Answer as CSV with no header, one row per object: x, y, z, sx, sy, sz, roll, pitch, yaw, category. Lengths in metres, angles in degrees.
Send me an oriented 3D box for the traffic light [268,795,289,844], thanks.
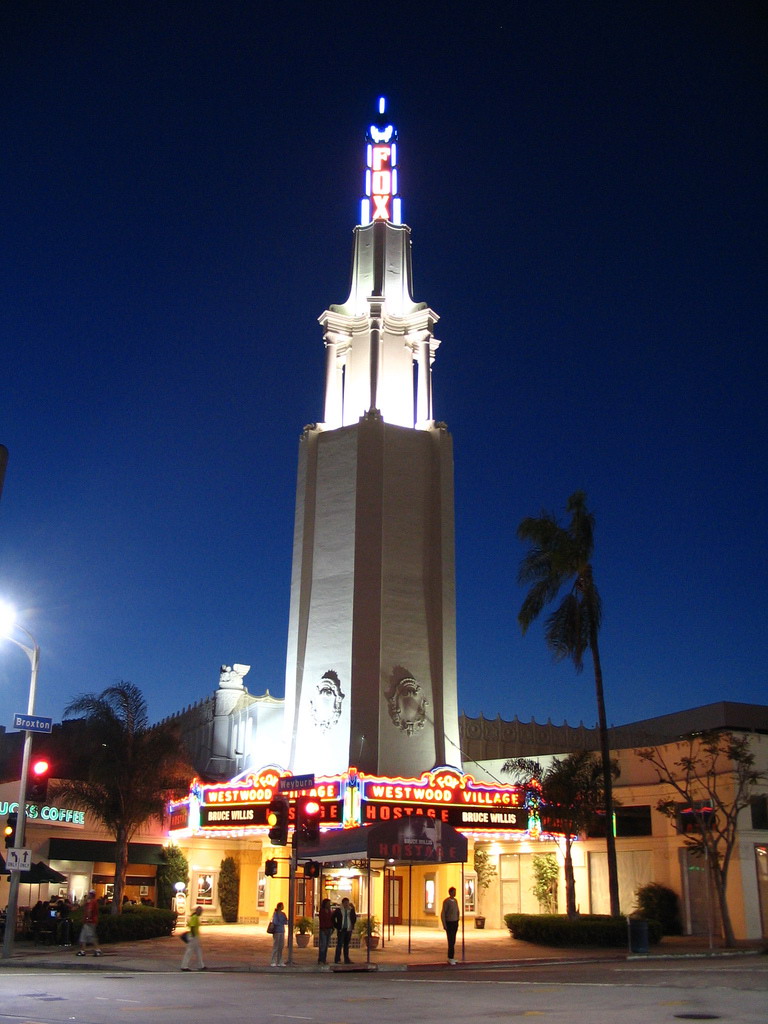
-2.766,8.088,21.696,0.534,1.162,0.991,2,-19,-7,traffic light

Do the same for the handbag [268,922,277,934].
-3.007,11.042,22.002,0.135,0.236,0.534,5,-20,-15,handbag

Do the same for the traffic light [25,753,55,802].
-8.889,6.820,21.221,0.521,1.221,1.618,7,-21,-21,traffic light

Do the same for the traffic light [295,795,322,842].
-1.998,7.982,21.326,0.566,0.971,0.468,0,-19,0,traffic light

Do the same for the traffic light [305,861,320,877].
-1.920,9.445,21.873,0.282,0.325,0.570,-13,-23,33,traffic light
